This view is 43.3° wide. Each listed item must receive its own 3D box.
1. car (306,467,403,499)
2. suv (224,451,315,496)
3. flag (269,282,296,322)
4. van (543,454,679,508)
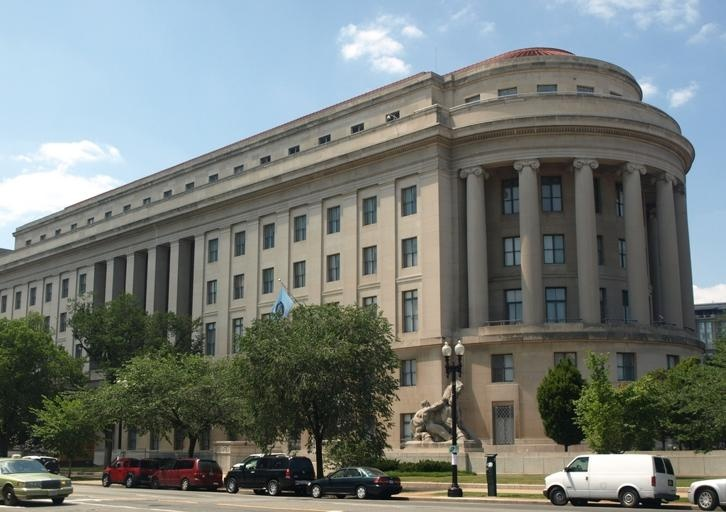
[{"bbox_3d":[-0.362,13.282,54.053,5.005,1.587,2.140,-5,-13,28],"label":"car"},{"bbox_3d":[-5.826,13.788,57.256,5.922,2.594,2.670,-8,-13,41],"label":"suv"},{"bbox_3d":[-6.811,3.457,75.982,3.053,3.563,0.345,-26,-45,27],"label":"flag"},{"bbox_3d":[13.247,12.128,48.919,7.017,2.906,2.933,-6,-12,33],"label":"van"}]
